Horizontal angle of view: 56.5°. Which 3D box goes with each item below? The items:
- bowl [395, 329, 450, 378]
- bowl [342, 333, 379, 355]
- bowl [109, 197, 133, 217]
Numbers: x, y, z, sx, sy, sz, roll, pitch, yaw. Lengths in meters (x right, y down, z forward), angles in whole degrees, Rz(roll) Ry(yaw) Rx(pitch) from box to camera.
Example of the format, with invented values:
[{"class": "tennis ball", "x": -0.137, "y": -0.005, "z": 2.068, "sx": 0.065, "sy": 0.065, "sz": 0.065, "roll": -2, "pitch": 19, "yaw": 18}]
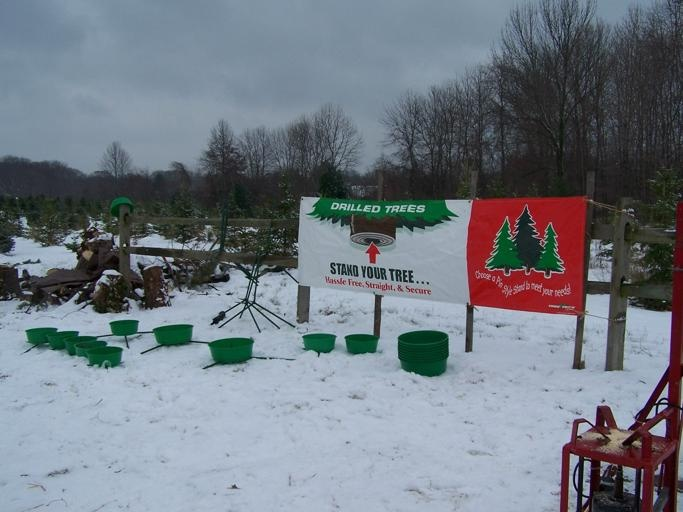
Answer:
[{"class": "bowl", "x": 1.353, "y": 1.575, "z": 10.455, "sx": 0.703, "sy": 0.513, "sz": 0.657, "roll": -2, "pitch": 0, "yaw": 0}, {"class": "bowl", "x": 0.345, "y": 1.531, "z": 11.183, "sx": 0.566, "sy": 0.273, "sz": 0.376, "roll": 0, "pitch": 14, "yaw": 0}, {"class": "bowl", "x": -5.016, "y": -1.129, "z": 14.479, "sx": 0.457, "sy": 0.446, "sz": 0.557, "roll": -4, "pitch": 14, "yaw": -16}]
